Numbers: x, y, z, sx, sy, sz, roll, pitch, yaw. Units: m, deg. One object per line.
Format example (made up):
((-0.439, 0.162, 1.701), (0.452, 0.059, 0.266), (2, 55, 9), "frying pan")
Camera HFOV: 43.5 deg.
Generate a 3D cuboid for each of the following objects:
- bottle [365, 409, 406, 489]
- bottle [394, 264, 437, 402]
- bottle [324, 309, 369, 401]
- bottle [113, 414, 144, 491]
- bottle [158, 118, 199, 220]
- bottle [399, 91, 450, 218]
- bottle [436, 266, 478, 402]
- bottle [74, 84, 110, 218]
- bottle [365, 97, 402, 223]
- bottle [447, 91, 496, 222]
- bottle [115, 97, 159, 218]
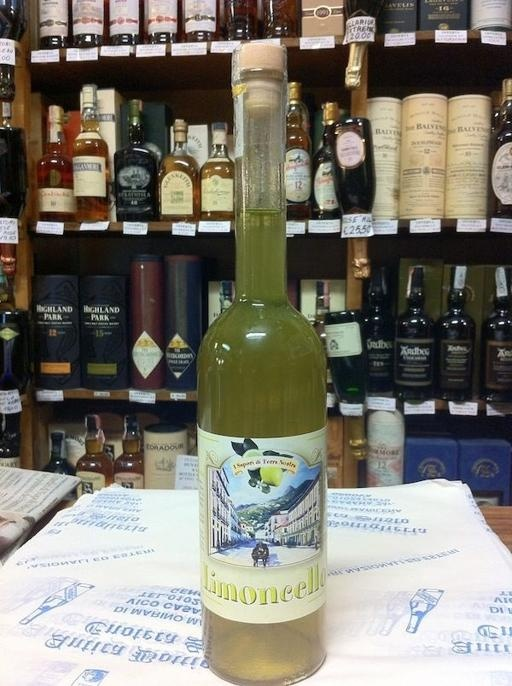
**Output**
((0.322, 0.266, 1.608), (0.086, 0.192, 0.055), (0, 7, 8), "bottle")
((0.392, -0.027, 1.589), (0.099, 0.324, 0.169), (0, 8, 12), "bottle")
((0.203, 0.037, 1.465), (0.087, 0.220, 0.061), (0, 7, 7), "bottle")
((-0.318, 0.273, 1.591), (0.073, 0.212, 0.128), (-3, 7, -10), "bottle")
((-0.194, -0.413, 1.610), (0.104, 0.217, 0.082), (-2, 7, -8), "bottle")
((0.400, -0.448, 1.543), (0.108, 0.293, 0.065), (0, 7, 11), "bottle")
((0.480, -0.021, 1.541), (0.085, 0.324, 0.087), (-1, 7, 0), "bottle")
((-0.429, -0.481, 1.657), (0.095, 0.339, 0.155), (-3, 8, -15), "bottle")
((0.313, -0.444, 1.541), (0.092, 0.285, 0.034), (-3, 8, -15), "bottle")
((0.507, -0.446, 1.541), (0.097, 0.290, 0.067), (1, 8, 16), "bottle")
((-0.310, -0.464, 1.650), (0.117, 0.306, 0.136), (-2, 7, -6), "bottle")
